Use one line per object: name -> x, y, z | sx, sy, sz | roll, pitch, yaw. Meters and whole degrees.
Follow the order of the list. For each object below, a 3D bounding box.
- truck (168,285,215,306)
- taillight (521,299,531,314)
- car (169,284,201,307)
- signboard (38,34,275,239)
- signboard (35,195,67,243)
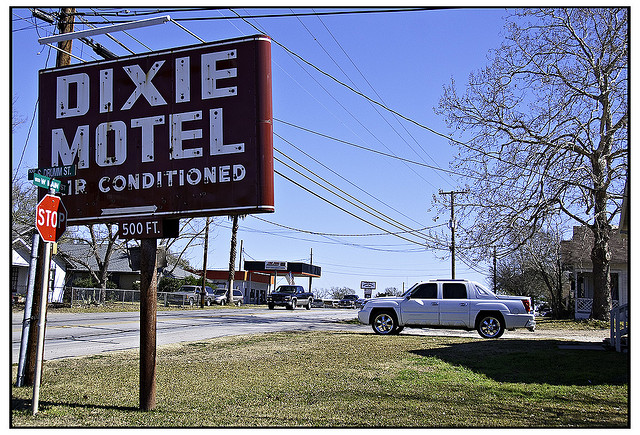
truck -> -13.095, 7.752, 51.266 | 1.684, 1.181, 3.350 | -5, -13, 21
taillight -> 7.972, 3.506, 20.270 | 0.257, 0.508, 0.117 | 0, -9, 14
car -> -13.178, 7.740, 50.892 | 1.907, 2.040, 3.960 | 0, -10, 10
signboard -> -3.389, -1.656, 11.208 | 4.635, 3.398, 0.607 | -1, -2, 19
signboard -> -5.596, 0.023, 10.850 | 0.432, 1.102, 1.177 | 6, -10, -20
